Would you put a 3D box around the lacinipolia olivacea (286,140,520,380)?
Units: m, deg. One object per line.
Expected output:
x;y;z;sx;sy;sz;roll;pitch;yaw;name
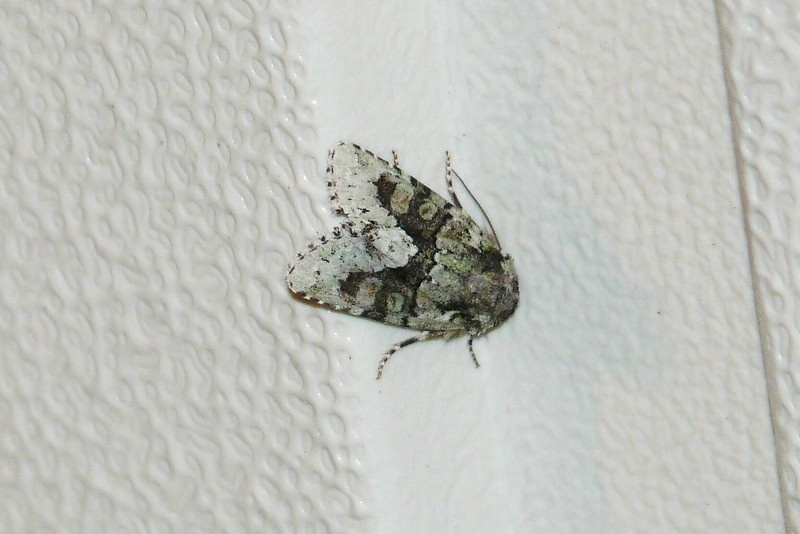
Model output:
0.066;-0.113;7.613;1.069;0.280;1.012;21;76;-7;lacinipolia olivacea
